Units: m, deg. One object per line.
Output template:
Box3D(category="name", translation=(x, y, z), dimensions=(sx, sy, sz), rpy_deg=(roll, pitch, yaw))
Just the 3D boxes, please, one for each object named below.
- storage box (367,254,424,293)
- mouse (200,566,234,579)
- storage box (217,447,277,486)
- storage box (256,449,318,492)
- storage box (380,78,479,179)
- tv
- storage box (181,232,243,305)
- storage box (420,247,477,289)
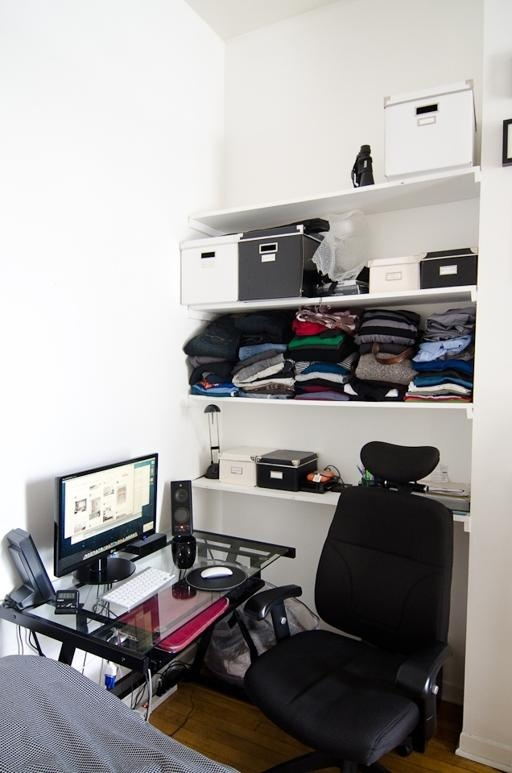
Box3D(category="storage box", translation=(0.498, -0.400, 2.178), dimensions=(0.143, 0.094, 0.148), rpy_deg=(0, 2, 30))
Box3D(category="mouse", translation=(-0.124, 0.598, 1.943), dimensions=(0.065, 0.018, 0.038), rpy_deg=(2, 2, -22))
Box3D(category="storage box", translation=(-0.057, 0.344, 2.670), dimensions=(0.159, 0.101, 0.164), rpy_deg=(0, 1, 27))
Box3D(category="storage box", translation=(0.124, 0.348, 2.566), dimensions=(0.168, 0.110, 0.173), rpy_deg=(-2, 0, 31))
Box3D(category="storage box", translation=(0.620, -0.841, 2.123), dimensions=(0.288, 0.284, 0.297), rpy_deg=(1, 3, 29))
Box3D(category="tv", translation=(-0.495, 0.432, 1.942), dimensions=(0.154, 0.294, 0.382), rpy_deg=(2, 5, 20))
Box3D(category="storage box", translation=(-0.161, -0.475, 2.597), dimensions=(0.271, 0.275, 0.208), rpy_deg=(-1, -1, 19))
Box3D(category="storage box", translation=(0.660, -0.389, 2.062), dimensions=(0.141, 0.091, 0.145), rpy_deg=(1, 3, 29))
